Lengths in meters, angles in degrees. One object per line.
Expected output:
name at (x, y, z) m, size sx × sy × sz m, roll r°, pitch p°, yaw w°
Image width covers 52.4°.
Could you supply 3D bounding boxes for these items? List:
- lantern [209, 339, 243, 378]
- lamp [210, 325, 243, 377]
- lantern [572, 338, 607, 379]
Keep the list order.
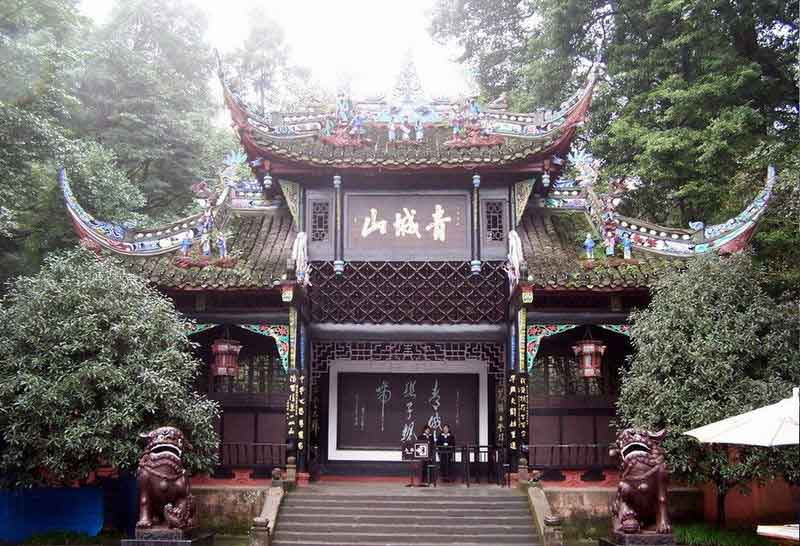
lantern at (-4.061, 1.958, 18.942) m, size 0.579 × 0.751 × 0.618 m, roll 2°, pitch -17°, yaw -6°
lamp at (-4.063, 1.788, 19.053) m, size 0.882 × 1.148 × 0.797 m, roll 3°, pitch -7°, yaw -26°
lantern at (4.314, 2.014, 19.014) m, size 0.921 × 0.823 × 0.822 m, roll 2°, pitch -14°, yaw -3°
